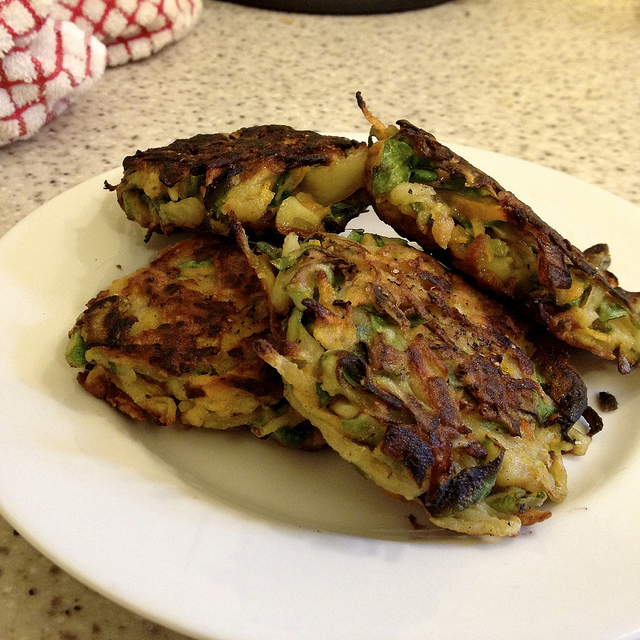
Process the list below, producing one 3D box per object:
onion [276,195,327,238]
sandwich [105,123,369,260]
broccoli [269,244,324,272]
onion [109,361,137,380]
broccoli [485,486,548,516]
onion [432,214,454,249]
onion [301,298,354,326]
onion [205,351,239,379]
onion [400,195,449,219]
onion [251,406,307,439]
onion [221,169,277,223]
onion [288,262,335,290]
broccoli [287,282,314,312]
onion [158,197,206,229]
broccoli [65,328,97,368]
[{"bbox_3d":[-0.041,-0.229,1.893,0.104,0.069,0.103,18,61,13],"label":"onion"},{"bbox_3d":[-0.163,-0.270,1.916,0.580,0.137,0.342,-4,23,0],"label":"sandwich"},{"bbox_3d":[-0.060,-0.124,1.712,0.128,0.033,0.033,-24,30,-31],"label":"broccoli"},{"bbox_3d":[-0.394,0.100,1.712,0.053,0.012,0.034,-1,106,2],"label":"onion"},{"bbox_3d":[0.354,0.327,1.550,0.101,0.028,0.045,-9,56,-2],"label":"broccoli"},{"bbox_3d":[0.254,-0.189,1.801,0.062,0.017,0.060,-8,71,5],"label":"onion"},{"bbox_3d":[0.021,-0.017,1.588,0.100,0.023,0.040,12,67,-5],"label":"onion"},{"bbox_3d":[-0.203,0.087,1.739,0.066,0.017,0.059,40,80,-1],"label":"onion"},{"bbox_3d":[0.225,-0.240,1.836,0.106,0.057,0.034,26,67,17],"label":"onion"},{"bbox_3d":[-0.076,0.205,1.737,0.097,0.022,0.058,-31,36,-14],"label":"onion"},{"bbox_3d":[-0.150,-0.270,1.840,0.127,0.047,0.096,-44,56,4],"label":"onion"},{"bbox_3d":[-0.014,-0.091,1.649,0.072,0.020,0.061,-3,42,-1],"label":"onion"},{"bbox_3d":[-0.037,-0.045,1.626,0.054,0.015,0.055,-30,105,8],"label":"broccoli"},{"bbox_3d":[-0.310,-0.242,1.924,0.110,0.099,0.030,5,66,5],"label":"onion"},{"bbox_3d":[-0.478,0.058,1.706,0.019,0.060,0.057,-22,63,41],"label":"broccoli"}]
